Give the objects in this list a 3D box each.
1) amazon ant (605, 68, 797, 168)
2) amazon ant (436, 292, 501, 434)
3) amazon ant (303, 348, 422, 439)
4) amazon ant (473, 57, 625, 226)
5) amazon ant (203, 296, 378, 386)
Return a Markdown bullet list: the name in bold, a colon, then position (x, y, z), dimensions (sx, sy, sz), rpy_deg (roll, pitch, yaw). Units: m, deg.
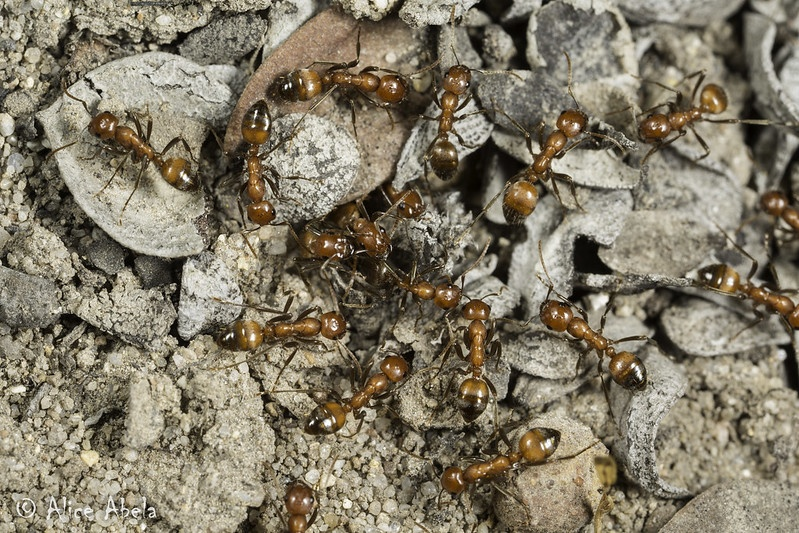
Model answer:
- **amazon ant**: position (2.272, -1.220, 7.269), dimensions (1.374, 0.481, 0.718), rpy_deg (-12, 69, -12)
- **amazon ant**: position (0.557, 0.684, 6.828), dimensions (0.460, 0.287, 0.942), rpy_deg (5, 72, 3)
- **amazon ant**: position (-0.341, 1.013, 6.825), dimensions (0.855, 0.718, 0.603), rpy_deg (-12, 110, -23)
- **amazon ant**: position (1.096, -0.781, 7.044), dimensions (0.834, 0.775, 1.155), rpy_deg (42, 69, 12)
- **amazon ant**: position (-0.901, 0.497, 6.822), dimensions (1.065, 0.405, 0.677), rpy_deg (3, 22, -11)
